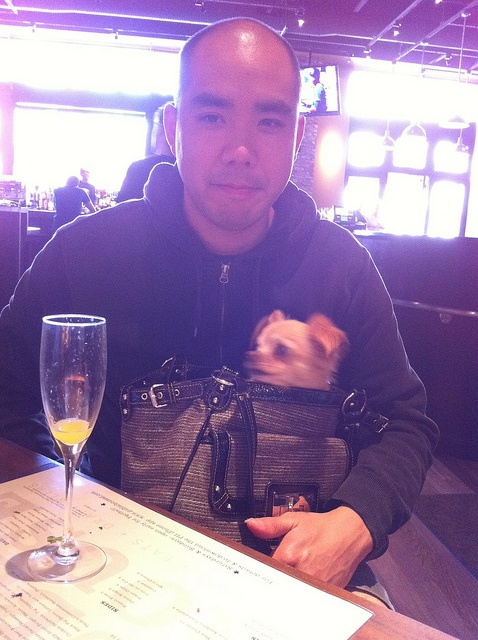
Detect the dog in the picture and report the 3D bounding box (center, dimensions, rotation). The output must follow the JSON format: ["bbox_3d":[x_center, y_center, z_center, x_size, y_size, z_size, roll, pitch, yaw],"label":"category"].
[{"bbox_3d":[0.139,0.082,1.223,0.146,0.216,0.191,-2,-22,43],"label":"dog"}]

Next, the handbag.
[{"bbox_3d":[0.014,0.209,0.848,0.333,0.245,0.289,17,-6,-17],"label":"handbag"}]
